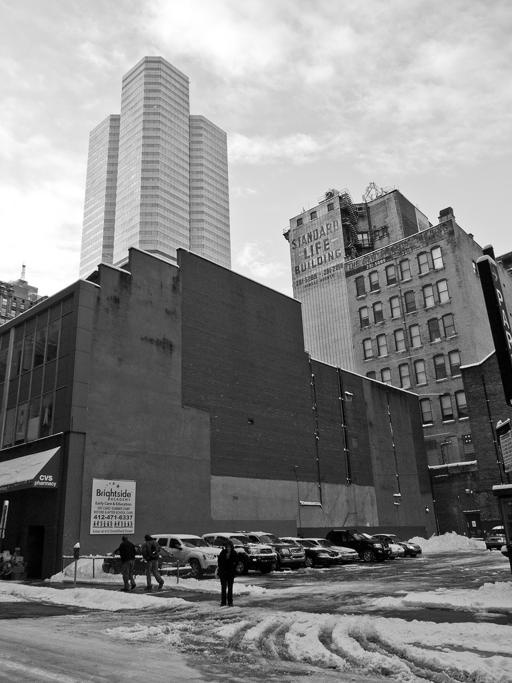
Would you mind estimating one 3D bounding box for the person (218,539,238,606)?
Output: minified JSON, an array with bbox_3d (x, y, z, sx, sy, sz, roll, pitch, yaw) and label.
[{"bbox_3d":[-0.666,5.586,12.318,0.478,1.422,1.031,-3,-19,-6],"label":"person"}]
